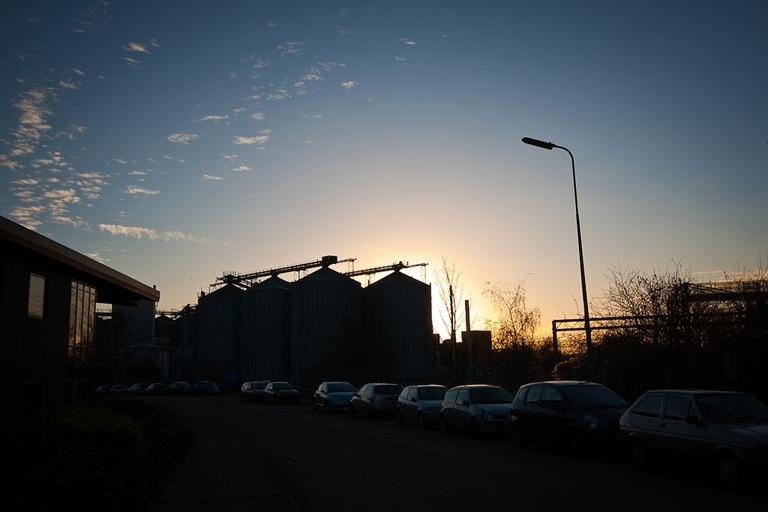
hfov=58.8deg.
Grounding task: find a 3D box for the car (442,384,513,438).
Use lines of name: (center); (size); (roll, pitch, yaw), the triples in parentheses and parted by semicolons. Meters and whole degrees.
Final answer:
car: (3.520, 5.468, 24.351); (2.175, 1.734, 3.620); (3, -13, -11)
